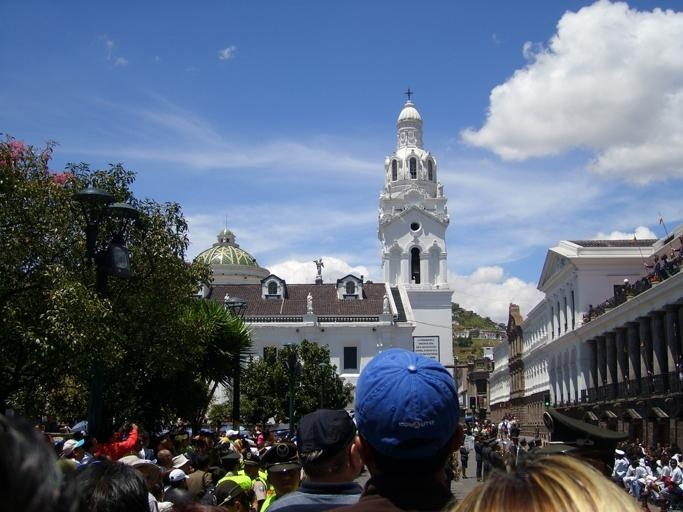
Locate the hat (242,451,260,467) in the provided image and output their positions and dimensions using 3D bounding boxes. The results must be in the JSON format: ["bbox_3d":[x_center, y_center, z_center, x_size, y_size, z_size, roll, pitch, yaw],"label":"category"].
[{"bbox_3d":[-1.763,3.979,18.828,0.372,0.284,0.536,6,-5,-2],"label":"hat"}]

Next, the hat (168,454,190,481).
[{"bbox_3d":[-3.082,3.995,18.372,0.333,0.251,0.455,-17,-7,17],"label":"hat"}]

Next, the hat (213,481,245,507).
[{"bbox_3d":[-1.980,4.136,16.975,0.465,0.417,0.369,12,-8,11],"label":"hat"}]
